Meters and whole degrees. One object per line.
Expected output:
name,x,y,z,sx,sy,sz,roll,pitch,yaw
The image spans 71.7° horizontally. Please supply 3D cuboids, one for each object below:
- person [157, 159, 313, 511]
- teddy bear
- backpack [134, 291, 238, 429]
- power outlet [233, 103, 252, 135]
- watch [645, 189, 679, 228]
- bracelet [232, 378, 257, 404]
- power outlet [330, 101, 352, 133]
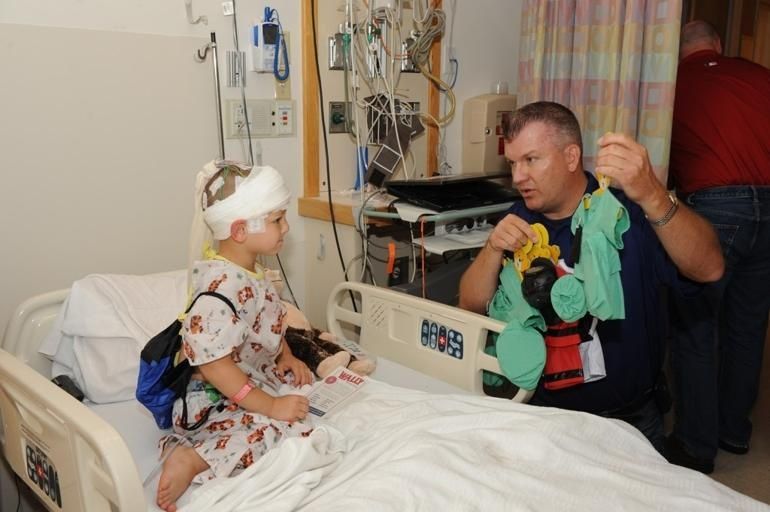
person,-0.577,0.296,1.960,0.485,1.115,1.012,-1,12,-5
teddy bear,-0.327,0.330,2.359,0.570,0.233,0.249,17,2,38
backpack,-0.725,0.417,1.991,0.199,0.535,0.313,15,3,-26
power outlet,-0.739,-0.709,2.740,0.093,0.142,0.030,-11,14,-32
watch,0.984,-0.163,1.837,0.039,0.110,0.115,15,51,-18
bracelet,-0.488,0.470,1.871,0.021,0.075,0.076,44,-3,-6
power outlet,-0.251,-0.794,3.052,0.034,0.175,0.155,14,22,43
